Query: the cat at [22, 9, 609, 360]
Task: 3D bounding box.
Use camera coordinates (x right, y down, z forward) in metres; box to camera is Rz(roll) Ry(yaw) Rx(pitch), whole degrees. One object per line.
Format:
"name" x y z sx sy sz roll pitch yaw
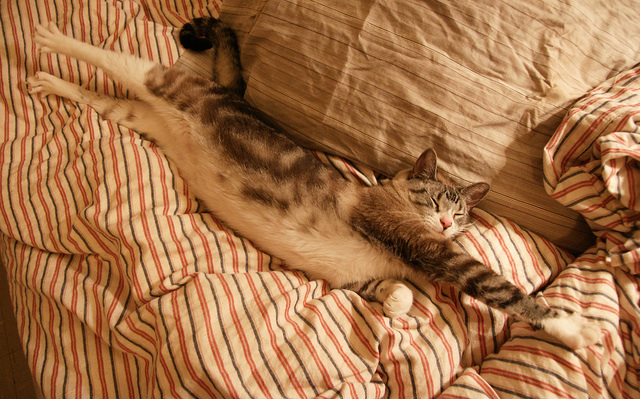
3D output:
"cat" -0.054 0.014 3.771 3.639 1.296 1.387 26 50 1
